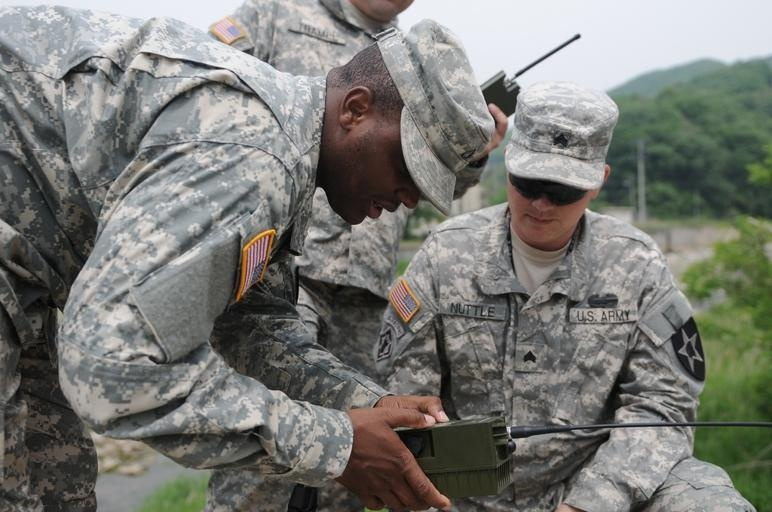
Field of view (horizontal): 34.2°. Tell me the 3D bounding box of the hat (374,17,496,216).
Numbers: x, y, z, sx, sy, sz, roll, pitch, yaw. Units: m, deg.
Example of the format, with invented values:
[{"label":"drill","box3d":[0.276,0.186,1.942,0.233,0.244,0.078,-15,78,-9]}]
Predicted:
[{"label":"hat","box3d":[0.239,-0.681,5.738,0.392,0.988,0.666,-10,9,30]}]
